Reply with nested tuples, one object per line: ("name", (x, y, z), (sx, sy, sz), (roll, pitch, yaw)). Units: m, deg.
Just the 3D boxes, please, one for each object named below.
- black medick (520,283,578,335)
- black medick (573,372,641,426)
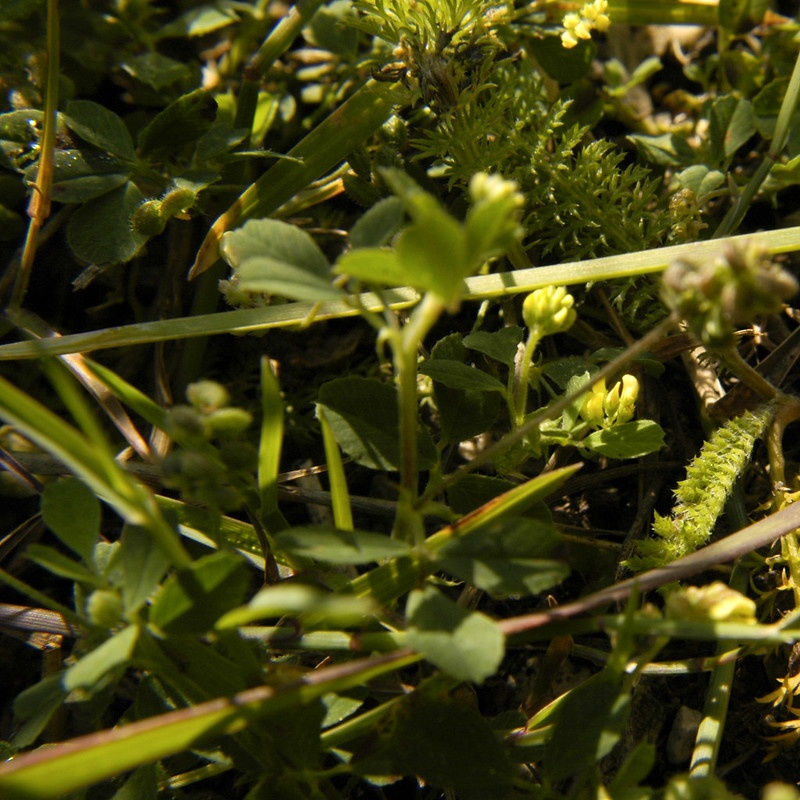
("black medick", (0.175, -0.111, 1.041), (0.055, 0.074, 0.064), (56, 21, -24))
("black medick", (0.264, 0.003, 1.124), (0.079, 0.065, 0.060), (9, 29, 9))
